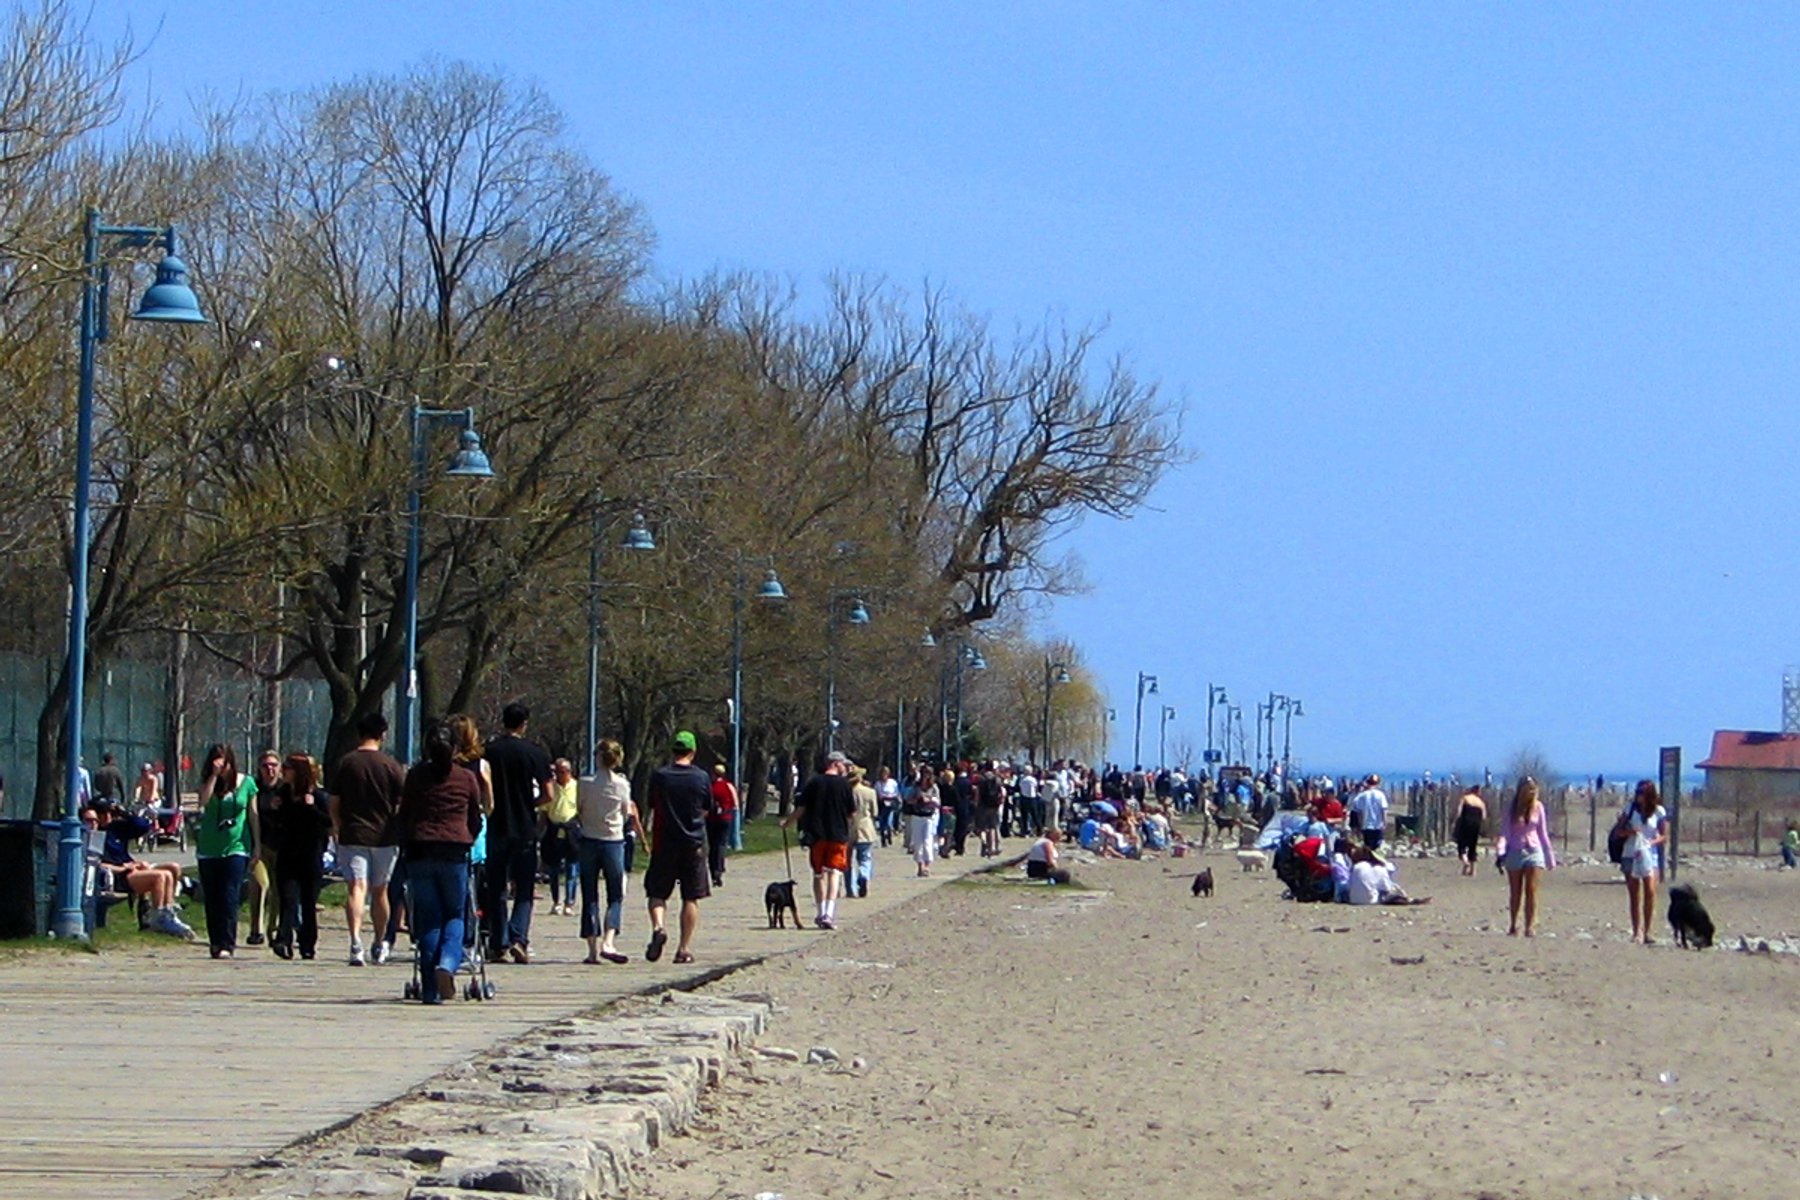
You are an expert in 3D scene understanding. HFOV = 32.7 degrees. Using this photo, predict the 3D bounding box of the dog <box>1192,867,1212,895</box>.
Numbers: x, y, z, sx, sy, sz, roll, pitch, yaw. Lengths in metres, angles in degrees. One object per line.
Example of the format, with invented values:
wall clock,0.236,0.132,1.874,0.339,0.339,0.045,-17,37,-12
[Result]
dog,5.126,4.936,52.567,0.226,0.610,0.983,2,5,7

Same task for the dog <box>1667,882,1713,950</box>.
dog,11.195,4.545,43.522,0.544,0.998,1.917,-3,-12,14
